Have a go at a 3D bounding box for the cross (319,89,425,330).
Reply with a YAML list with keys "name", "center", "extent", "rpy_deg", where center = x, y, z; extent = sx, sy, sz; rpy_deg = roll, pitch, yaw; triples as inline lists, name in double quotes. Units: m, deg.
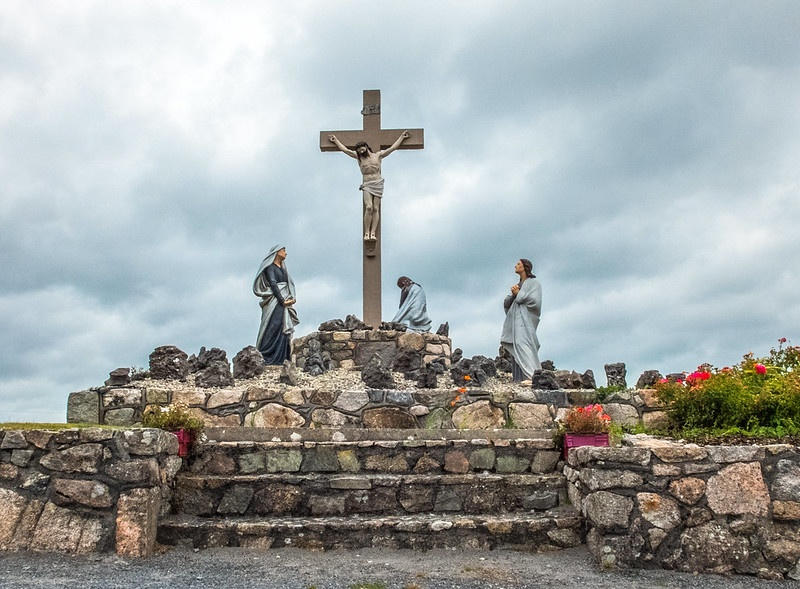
- name: "cross"
  center: [-0.678, -1.920, 14.812]
  extent: [1.919, 4.985, 1.818]
  rpy_deg: [-15, -22, 36]
